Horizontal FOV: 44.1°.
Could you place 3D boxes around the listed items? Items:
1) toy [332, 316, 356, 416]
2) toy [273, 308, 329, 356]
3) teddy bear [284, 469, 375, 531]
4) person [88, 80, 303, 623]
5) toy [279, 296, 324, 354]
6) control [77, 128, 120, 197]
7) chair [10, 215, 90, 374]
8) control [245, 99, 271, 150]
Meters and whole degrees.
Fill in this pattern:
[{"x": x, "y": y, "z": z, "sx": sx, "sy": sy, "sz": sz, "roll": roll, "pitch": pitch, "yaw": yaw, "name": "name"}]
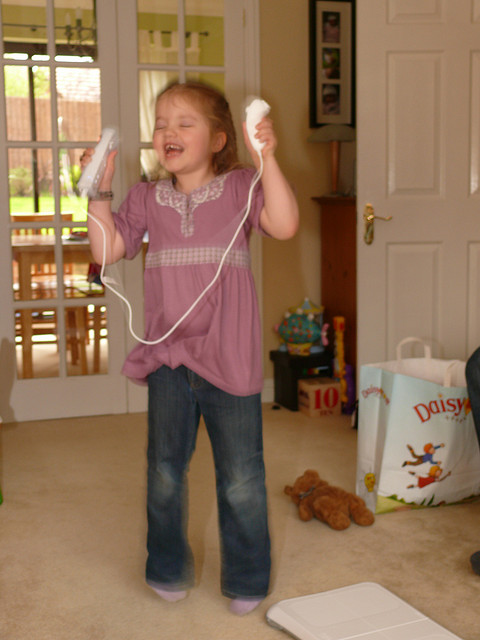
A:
[{"x": 0.582, "y": 0.241, "z": 3.089, "sx": 0.121, "sy": 0.502, "sz": 0.112, "roll": -9, "pitch": -9, "yaw": 2, "name": "toy"}, {"x": 0.324, "y": 0.058, "z": 3.197, "sx": 0.308, "sy": 0.248, "sz": 0.246, "roll": -1, "pitch": 4, "yaw": 9, "name": "toy"}, {"x": 0.263, "y": 0.563, "z": 1.872, "sx": 0.221, "sy": 0.077, "sz": 0.366, "roll": -3, "pitch": 5, "yaw": -19, "name": "teddy bear"}, {"x": -0.079, "y": 0.079, "z": 1.217, "sx": 0.432, "sy": 1.108, "sz": 0.251, "roll": 1, "pitch": 4, "yaw": 30, "name": "person"}, {"x": 0.357, "y": 0.032, "z": 3.277, "sx": 0.267, "sy": 0.387, "sz": 0.269, "roll": 0, "pitch": 8, "yaw": -1, "name": "toy"}, {"x": -0.289, "y": -0.321, "z": 1.195, "sx": 0.088, "sy": 0.147, "sz": 0.060, "roll": -4, "pitch": 5, "yaw": -33, "name": "control"}, {"x": -1.026, "y": -0.079, "z": 2.999, "sx": 0.395, "sy": 0.591, "sz": 0.350, "roll": -17, "pitch": 12, "yaw": -41, "name": "chair"}, {"x": 0.027, "y": -0.335, "z": 1.012, "sx": 0.042, "sy": 0.076, "sz": 0.027, "roll": -2, "pitch": 16, "yaw": 9, "name": "control"}]
